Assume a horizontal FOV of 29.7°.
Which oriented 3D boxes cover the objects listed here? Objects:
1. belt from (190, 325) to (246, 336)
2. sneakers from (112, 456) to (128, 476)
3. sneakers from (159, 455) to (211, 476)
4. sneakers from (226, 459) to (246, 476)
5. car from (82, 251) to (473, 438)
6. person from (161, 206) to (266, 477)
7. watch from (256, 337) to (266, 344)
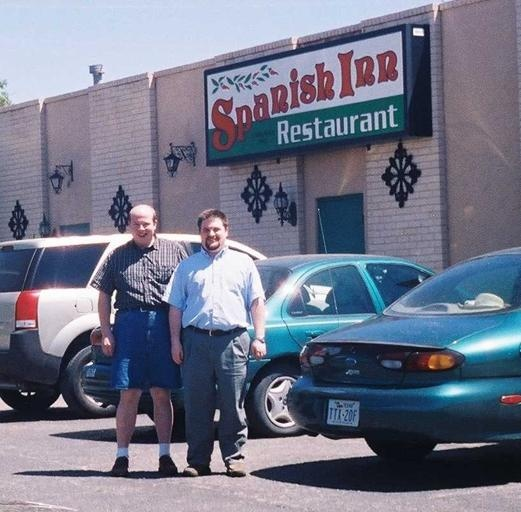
[{"bbox_3d":[-0.302,0.534,6.970,0.357,0.066,0.104,-4,1,-1],"label":"belt"},{"bbox_3d":[-1.024,1.514,7.094,0.124,0.145,0.161,-4,1,-10],"label":"sneakers"},{"bbox_3d":[-0.576,1.496,7.035,0.415,0.167,0.137,-1,-2,2],"label":"sneakers"},{"bbox_3d":[-0.179,1.509,6.973,0.131,0.120,0.144,-4,1,-6],"label":"sneakers"},{"bbox_3d":[0.209,0.688,9.128,3.309,1.031,1.455,-3,-1,-31],"label":"car"},{"bbox_3d":[-0.312,0.619,7.067,0.702,1.835,0.362,-4,1,-1],"label":"person"},{"bbox_3d":[-0.005,0.604,6.984,0.041,0.025,0.044,8,-3,-44],"label":"watch"}]
